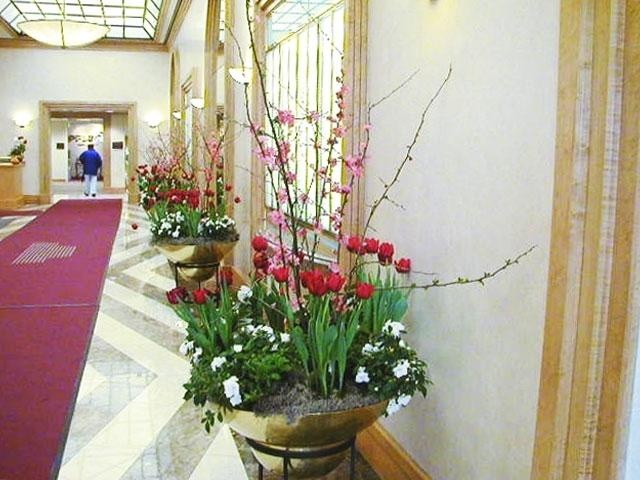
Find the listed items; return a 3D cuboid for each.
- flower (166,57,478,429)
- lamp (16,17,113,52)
[{"bbox_3d":[-0.115,0.158,2.312,1.052,1.907,1.428,4,10,-15],"label":"flower"},{"bbox_3d":[-3.728,-3.022,7.278,1.117,0.355,0.672,3,10,-28],"label":"lamp"}]
